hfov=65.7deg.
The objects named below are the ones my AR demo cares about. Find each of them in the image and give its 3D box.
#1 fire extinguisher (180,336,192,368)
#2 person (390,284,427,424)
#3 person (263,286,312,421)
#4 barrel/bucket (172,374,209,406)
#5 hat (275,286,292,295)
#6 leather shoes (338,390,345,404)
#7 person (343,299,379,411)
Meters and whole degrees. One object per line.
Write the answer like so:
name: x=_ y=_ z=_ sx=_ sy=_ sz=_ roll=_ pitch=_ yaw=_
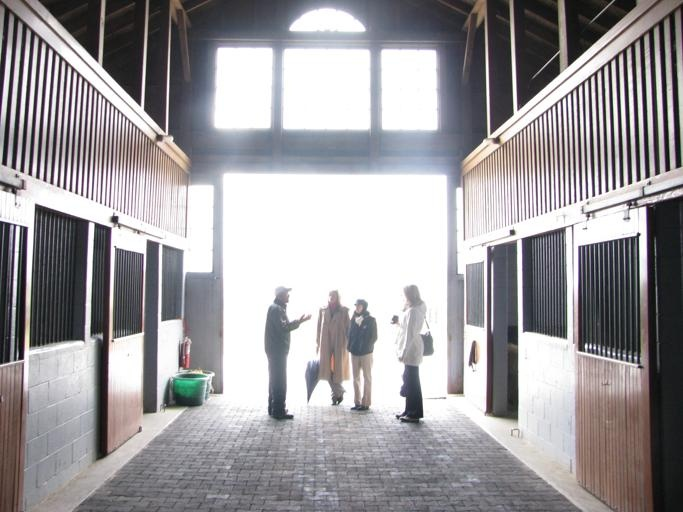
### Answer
fire extinguisher: x=-2.547 y=1.608 z=8.696 sx=0.177 sy=0.530 sz=0.335 roll=0 pitch=3 yaw=-17
person: x=0.948 y=1.319 z=7.219 sx=0.381 sy=1.842 sz=0.342 roll=1 pitch=2 yaw=10
person: x=-0.842 y=1.342 z=7.406 sx=0.430 sy=1.777 sz=0.675 roll=-2 pitch=3 yaw=-40
barrel/bucket: x=-2.297 y=2.040 z=8.078 sx=0.489 sy=0.468 sz=0.513 roll=1 pitch=0 yaw=0
hat: x=-0.826 y=0.488 z=7.524 sx=0.169 sy=0.061 sz=0.116 roll=-5 pitch=7 yaw=-12
leather shoes: x=0.003 y=2.164 z=8.065 sx=0.132 sy=0.159 sz=0.143 roll=3 pitch=-7 yaw=-22
person: x=0.290 y=1.443 z=7.820 sx=0.433 sy=1.593 sz=0.437 roll=1 pitch=2 yaw=15
